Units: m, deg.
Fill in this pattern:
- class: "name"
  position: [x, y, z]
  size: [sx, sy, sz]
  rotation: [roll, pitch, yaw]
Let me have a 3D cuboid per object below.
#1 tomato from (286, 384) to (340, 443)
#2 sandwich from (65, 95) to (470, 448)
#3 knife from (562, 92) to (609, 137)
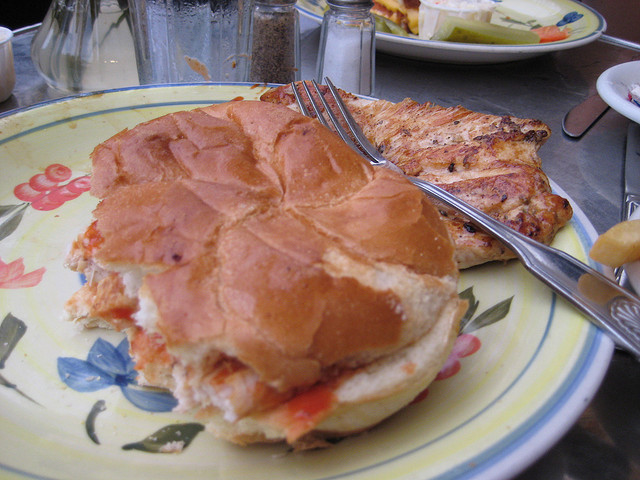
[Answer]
- class: "tomato"
  position: [0.009, 0.253, 0.947]
  size: [0.111, 0.170, 0.038]
  rotation: [-36, 86, -15]
- class: "sandwich"
  position: [-0.092, 0.033, 0.947]
  size: [0.493, 0.207, 0.568]
  rotation: [-18, 47, -24]
- class: "knife"
  position: [0.783, -0.392, 1.807]
  size: [0.078, 0.032, 0.339]
  rotation: [25, 42, 21]
